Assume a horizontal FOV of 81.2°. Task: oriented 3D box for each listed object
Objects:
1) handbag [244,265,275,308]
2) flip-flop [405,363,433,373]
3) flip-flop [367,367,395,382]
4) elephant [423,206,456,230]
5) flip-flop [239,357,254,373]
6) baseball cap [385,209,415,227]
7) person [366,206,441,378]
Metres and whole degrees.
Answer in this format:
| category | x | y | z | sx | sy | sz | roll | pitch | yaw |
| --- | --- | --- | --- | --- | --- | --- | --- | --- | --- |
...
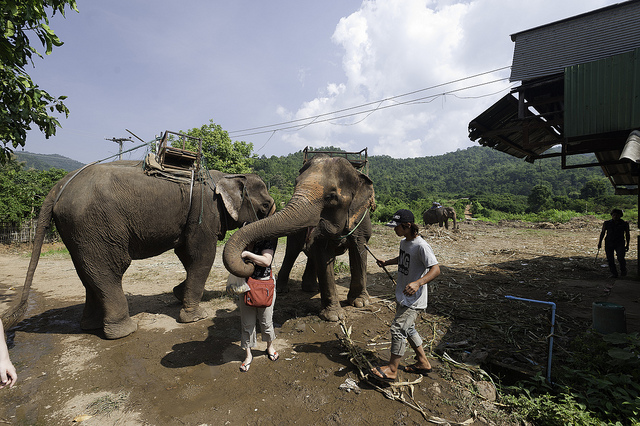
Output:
| category | x | y | z | sx | sy | sz | roll | pitch | yaw |
| --- | --- | --- | --- | --- | --- | --- | --- | --- | --- |
| handbag | -1.083 | 1.250 | 6.862 | 0.495 | 0.795 | 0.841 | 4 | 6 | -7 |
| flip-flop | 1.719 | 2.691 | 6.556 | 0.415 | 0.109 | 0.162 | 4 | -8 | -2 |
| flip-flop | 1.052 | 2.764 | 6.377 | 0.478 | 0.144 | 0.180 | 24 | -15 | 1 |
| elephant | 6.814 | 0.267 | 21.238 | 1.283 | 1.305 | 1.771 | 2 | 3 | 43 |
| flip-flop | -1.318 | 2.715 | 6.683 | 0.176 | 0.123 | 0.450 | 1 | -8 | 11 |
| baseball cap | 1.353 | 0.083 | 6.479 | 0.415 | 0.232 | 0.271 | -2 | 2 | 5 |
| person | 1.547 | 1.357 | 6.709 | 1.076 | 2.850 | 1.243 | 1 | 3 | 18 |
